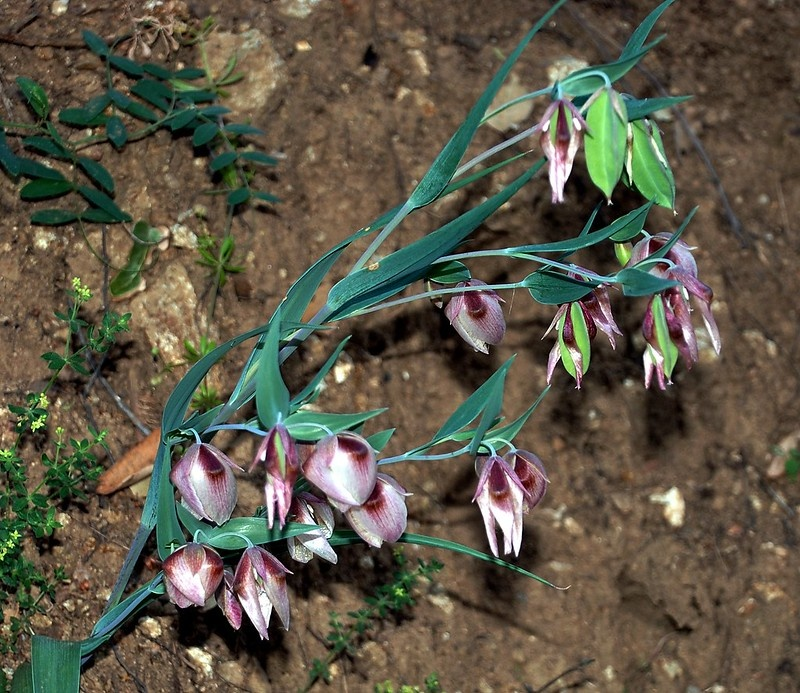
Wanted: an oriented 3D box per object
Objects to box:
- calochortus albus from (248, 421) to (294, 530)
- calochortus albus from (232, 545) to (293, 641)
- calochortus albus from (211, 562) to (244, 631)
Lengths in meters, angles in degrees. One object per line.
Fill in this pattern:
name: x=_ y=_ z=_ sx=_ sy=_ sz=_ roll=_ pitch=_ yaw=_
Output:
calochortus albus: x=-0.244 y=0.254 z=1.963 sx=0.070 sy=0.076 sz=0.238 roll=-4 pitch=49 yaw=-9
calochortus albus: x=-0.296 y=0.544 z=2.141 sx=0.122 sy=0.088 sz=0.209 roll=-21 pitch=52 yaw=9
calochortus albus: x=-0.393 y=0.572 z=2.185 sx=0.052 sy=0.060 sz=0.182 roll=-6 pitch=94 yaw=-22
